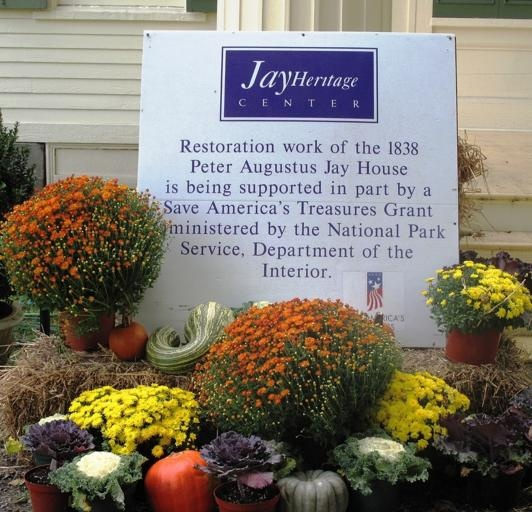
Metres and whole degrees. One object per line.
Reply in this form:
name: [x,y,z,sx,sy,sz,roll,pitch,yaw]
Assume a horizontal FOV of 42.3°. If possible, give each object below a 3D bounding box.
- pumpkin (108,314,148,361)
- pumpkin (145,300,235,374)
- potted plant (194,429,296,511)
pumpkin: [-0.800,0.494,4.115,0.256,0.205,0.233,0,2,-7]
pumpkin: [-0.409,0.460,4.096,0.616,0.370,0.456,0,18,3]
potted plant: [-0.119,0.981,3.141,0.362,0.296,0.243,1,4,12]
